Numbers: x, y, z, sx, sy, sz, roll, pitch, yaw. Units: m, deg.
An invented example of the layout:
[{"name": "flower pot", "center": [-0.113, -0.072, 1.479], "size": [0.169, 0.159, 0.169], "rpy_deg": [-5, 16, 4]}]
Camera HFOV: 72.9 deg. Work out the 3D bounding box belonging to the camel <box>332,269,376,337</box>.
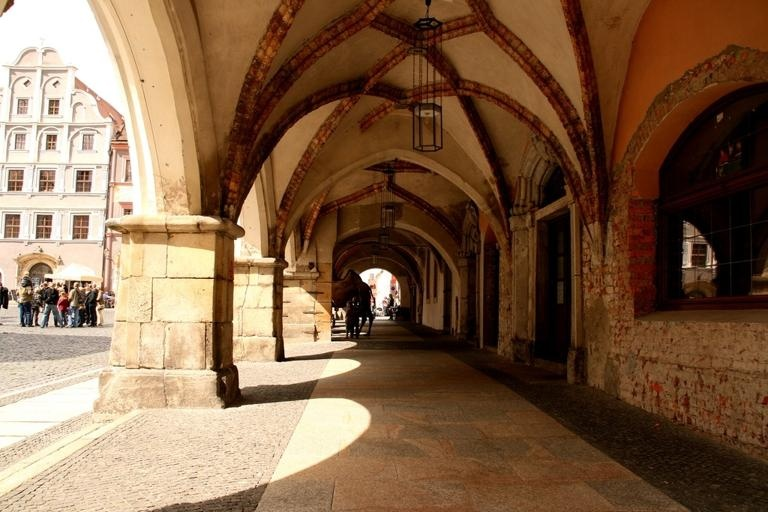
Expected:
[{"name": "camel", "center": [-1.141, 1.623, 18.787], "size": [1.260, 2.394, 1.924], "rpy_deg": [1, -7, 5]}]
